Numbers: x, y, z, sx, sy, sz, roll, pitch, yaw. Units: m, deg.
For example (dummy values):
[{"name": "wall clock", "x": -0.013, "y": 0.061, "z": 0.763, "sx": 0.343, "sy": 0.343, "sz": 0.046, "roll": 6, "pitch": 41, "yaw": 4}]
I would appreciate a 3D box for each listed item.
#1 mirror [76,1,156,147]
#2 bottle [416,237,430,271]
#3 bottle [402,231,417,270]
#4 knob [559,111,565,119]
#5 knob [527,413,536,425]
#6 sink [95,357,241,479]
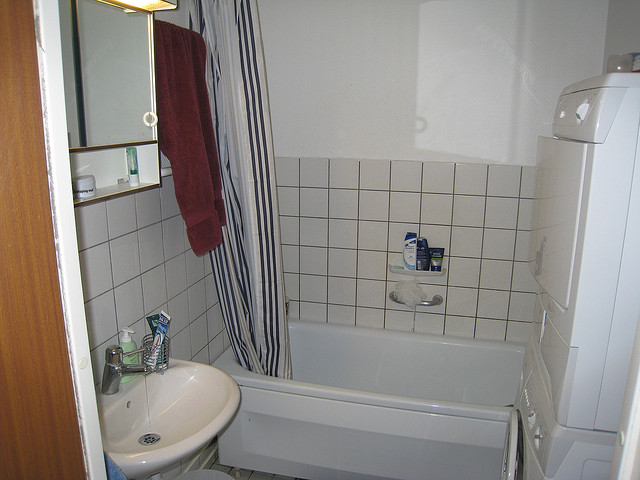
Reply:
[{"name": "mirror", "x": -0.676, "y": -0.545, "z": 1.622, "sx": 0.061, "sy": 0.442, "sz": 0.253, "roll": 8, "pitch": 14, "yaw": 35}, {"name": "bottle", "x": 0.582, "y": 0.080, "z": 2.749, "sx": 0.089, "sy": 0.234, "sz": 0.053, "roll": 2, "pitch": 29, "yaw": 18}, {"name": "bottle", "x": 0.511, "y": 0.059, "z": 2.760, "sx": 0.074, "sy": 0.214, "sz": 0.071, "roll": 0, "pitch": 12, "yaw": 0}, {"name": "knob", "x": 0.749, "y": -0.389, "z": 1.504, "sx": 0.005, "sy": 0.020, "sz": 0.021, "roll": 8, "pitch": 10, "yaw": -6}, {"name": "knob", "x": 0.701, "y": 0.589, "z": 1.604, "sx": 0.020, "sy": 0.028, "sz": 0.027, "roll": -13, "pitch": 6, "yaw": -38}, {"name": "sink", "x": -0.539, "y": 0.594, "z": 1.739, "sx": 0.456, "sy": 0.189, "sz": 0.524, "roll": -7, "pitch": 13, "yaw": -29}]
